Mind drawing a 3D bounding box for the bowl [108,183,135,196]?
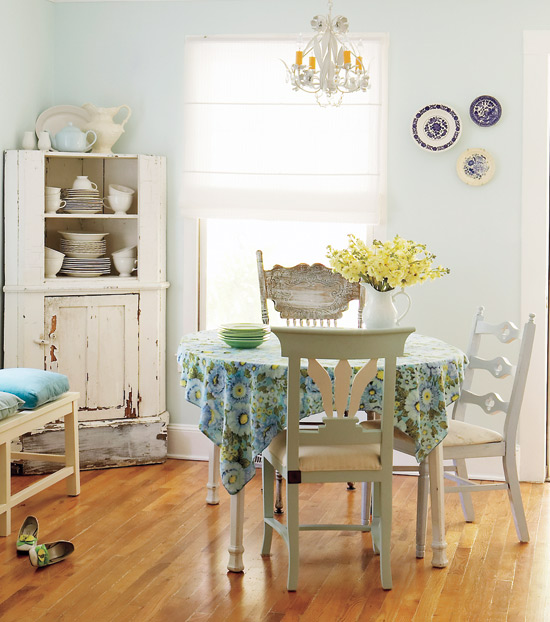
[{"bbox_3d":[-0.828,-0.656,3.337,0.092,0.045,0.095,18,23,-8],"label":"bowl"}]

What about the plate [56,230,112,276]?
[{"bbox_3d":[-1.011,-0.296,3.278,0.226,0.189,0.244,1,-3,0],"label":"plate"}]

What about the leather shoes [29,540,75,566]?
[{"bbox_3d":[-0.777,0.834,2.141,0.043,0.071,0.132,-10,-7,38],"label":"leather shoes"}]

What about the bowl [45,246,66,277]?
[{"bbox_3d":[-1.147,-0.253,3.203,0.116,0.137,0.130,2,-8,-7],"label":"bowl"}]

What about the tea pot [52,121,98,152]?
[{"bbox_3d":[-1.071,-0.928,3.298,0.218,0.153,0.148,5,10,11],"label":"tea pot"}]

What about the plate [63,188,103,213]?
[{"bbox_3d":[-1.024,-0.576,3.268,0.205,0.128,0.118,0,2,-20],"label":"plate"}]

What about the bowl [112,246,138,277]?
[{"bbox_3d":[-0.800,-0.271,3.304,0.162,0.129,0.113,5,7,39],"label":"bowl"}]

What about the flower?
[{"bbox_3d":[0.382,-0.168,2.270,0.316,0.199,0.334,5,5,42],"label":"flower"}]

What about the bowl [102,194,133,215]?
[{"bbox_3d":[-0.844,-0.578,3.304,0.132,0.110,0.112,-2,3,1],"label":"bowl"}]
